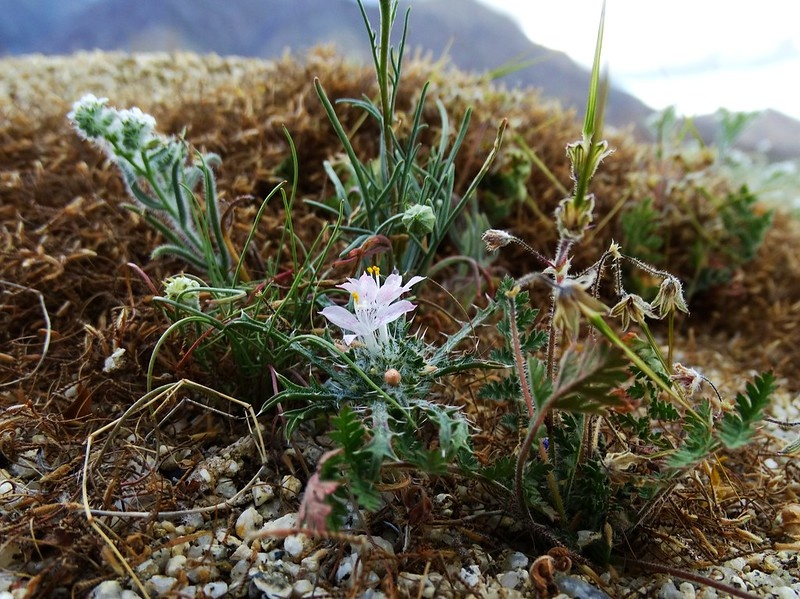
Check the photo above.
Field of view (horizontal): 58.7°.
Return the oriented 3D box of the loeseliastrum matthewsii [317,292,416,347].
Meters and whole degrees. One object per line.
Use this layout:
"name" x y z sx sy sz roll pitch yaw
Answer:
"loeseliastrum matthewsii" -0.107 0.045 2.041 0.225 0.158 0.230 -6 10 -17
